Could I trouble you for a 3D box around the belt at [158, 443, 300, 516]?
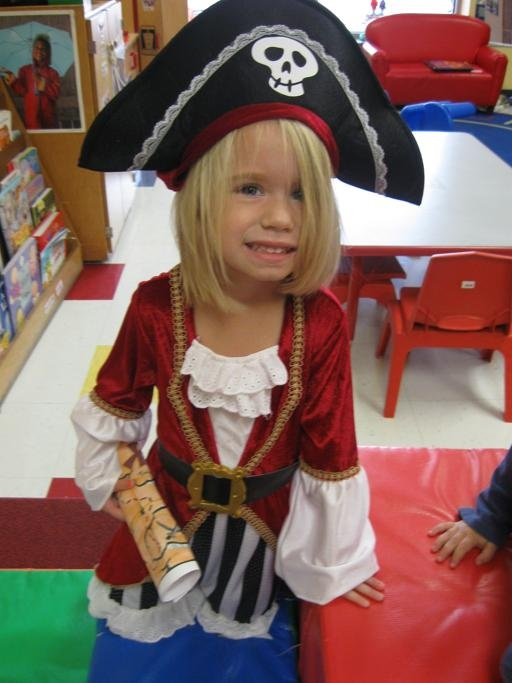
[{"bbox_3d":[-0.055,0.245,0.986,0.138,0.050,0.130,15,12,8],"label":"belt"}]
